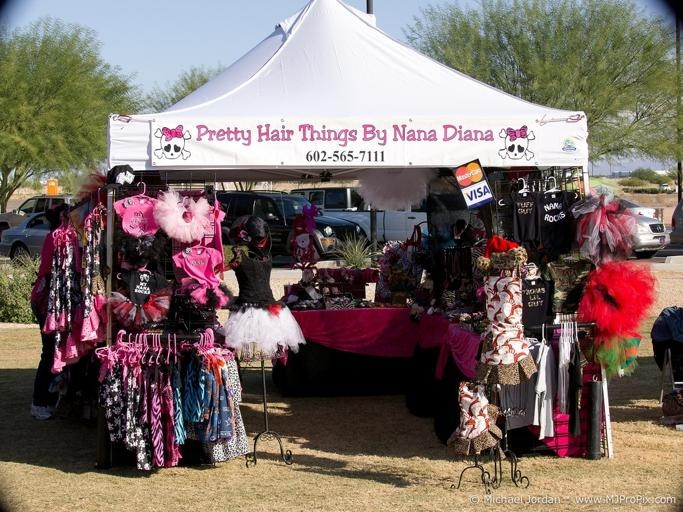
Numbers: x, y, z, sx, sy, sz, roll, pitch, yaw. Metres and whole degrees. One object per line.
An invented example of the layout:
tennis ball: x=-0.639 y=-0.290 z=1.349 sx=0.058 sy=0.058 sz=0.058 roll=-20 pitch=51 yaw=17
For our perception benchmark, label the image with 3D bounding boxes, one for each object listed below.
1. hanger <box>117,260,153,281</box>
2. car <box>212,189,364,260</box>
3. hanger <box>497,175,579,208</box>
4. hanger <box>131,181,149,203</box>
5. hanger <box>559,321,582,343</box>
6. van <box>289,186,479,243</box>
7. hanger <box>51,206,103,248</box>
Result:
hanger: x=-2.203 y=0.139 z=9.943 sx=0.397 sy=0.210 sz=0.220 roll=0 pitch=10 yaw=0
car: x=-1.386 y=-0.917 z=23.114 sx=2.915 sy=1.535 sz=1.764 roll=0 pitch=4 yaw=13
hanger: x=2.276 y=-0.764 z=10.857 sx=0.893 sy=0.388 sz=1.175 roll=2 pitch=12 yaw=12
hanger: x=-2.139 y=-0.691 z=10.078 sx=0.133 sy=0.207 sz=0.193 roll=-2 pitch=10 yaw=-12
hanger: x=2.418 y=0.831 z=10.031 sx=0.188 sy=0.237 sz=0.116 roll=1 pitch=10 yaw=10
van: x=0.694 y=-1.225 z=26.508 sx=3.257 sy=1.608 sz=1.688 roll=0 pitch=3 yaw=17
hanger: x=-2.893 y=-0.332 z=10.314 sx=0.289 sy=0.517 sz=0.912 roll=-8 pitch=14 yaw=-40
